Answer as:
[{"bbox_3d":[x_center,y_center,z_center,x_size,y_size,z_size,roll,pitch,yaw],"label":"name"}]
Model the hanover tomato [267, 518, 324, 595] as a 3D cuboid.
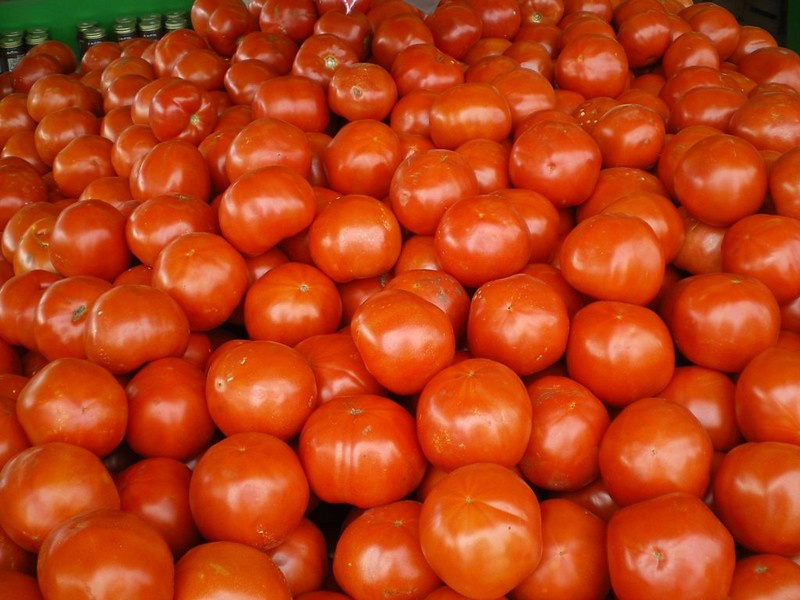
[{"bbox_3d":[-0.203,0.555,1.603,0.113,0.122,0.135,-15,80,17],"label":"hanover tomato"}]
